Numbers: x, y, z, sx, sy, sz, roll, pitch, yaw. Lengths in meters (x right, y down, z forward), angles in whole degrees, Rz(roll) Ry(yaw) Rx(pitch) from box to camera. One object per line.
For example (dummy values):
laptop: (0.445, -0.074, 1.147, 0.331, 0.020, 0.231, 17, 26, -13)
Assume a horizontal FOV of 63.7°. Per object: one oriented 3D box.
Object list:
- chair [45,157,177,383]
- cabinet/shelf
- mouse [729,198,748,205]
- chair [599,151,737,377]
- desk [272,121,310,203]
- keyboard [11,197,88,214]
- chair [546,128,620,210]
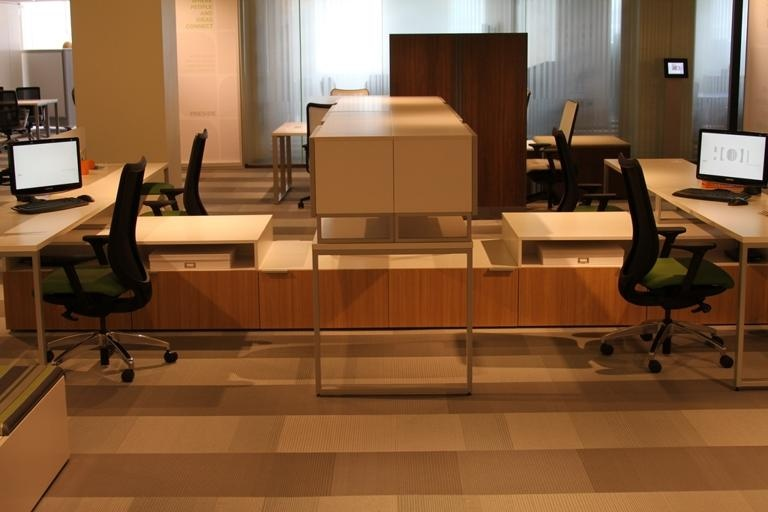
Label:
chair: (-2.221, 0.095, 4.895, 0.985, 1.652, 0.720, 4, 20, 16)
cabinet/shelf: (0.875, -1.423, 10.366, 2.109, 3.692, 4.021, -1, 13, 0)
mouse: (3.085, -0.476, 5.415, 0.126, 0.044, 0.079, -1, 8, -4)
chair: (2.366, 0.040, 5.105, 0.972, 1.563, 0.913, 3, 9, 25)
desk: (-1.669, -1.665, 11.004, 0.634, 1.108, 1.944, -1, 15, -2)
keyboard: (-2.972, -0.461, 5.575, 0.434, 0.058, 0.244, -12, 18, -35)
chair: (2.180, -0.789, 6.679, 0.642, 0.985, 0.705, -2, 2, 20)
